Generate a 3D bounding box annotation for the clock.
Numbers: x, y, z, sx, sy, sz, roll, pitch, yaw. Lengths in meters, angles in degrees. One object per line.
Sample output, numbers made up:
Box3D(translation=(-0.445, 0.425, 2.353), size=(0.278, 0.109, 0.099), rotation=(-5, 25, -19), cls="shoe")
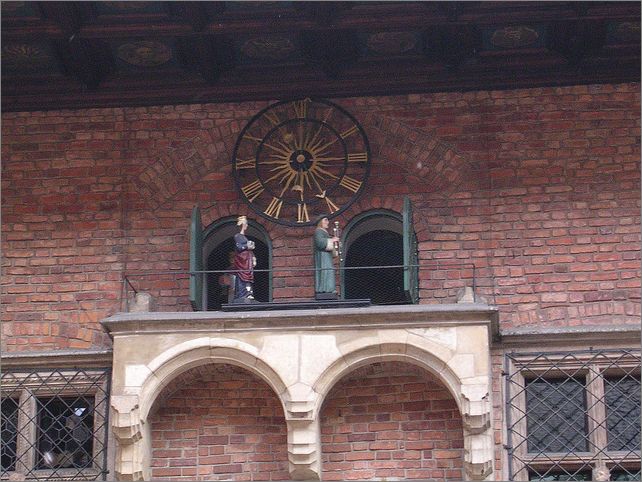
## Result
Box3D(translation=(-0.200, -1.027, 26.617), size=(2.721, 1.837, 0.176), rotation=(0, -16, 4), cls="clock")
